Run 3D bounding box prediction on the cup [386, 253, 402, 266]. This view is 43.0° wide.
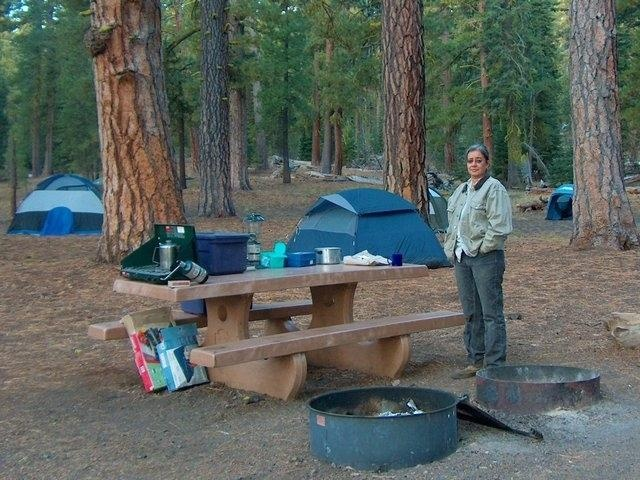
[{"bbox_3d":[0.892,0.216,9.620,0.136,0.144,0.125,-2,3,0],"label":"cup"}]

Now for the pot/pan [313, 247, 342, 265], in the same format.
[{"bbox_3d":[0.086,0.185,9.569,0.202,0.139,0.213,-2,2,29],"label":"pot/pan"}]

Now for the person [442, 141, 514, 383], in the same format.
[{"bbox_3d":[1.777,0.248,9.252,0.798,2.630,0.513,8,15,36],"label":"person"}]

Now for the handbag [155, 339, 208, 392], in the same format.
[{"bbox_3d":[-1.598,1.423,9.265,0.480,0.535,0.129,-5,-10,-26],"label":"handbag"}]

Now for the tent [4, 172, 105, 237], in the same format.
[{"bbox_3d":[-6.215,-0.598,19.641,2.135,1.084,1.884,-2,6,-21],"label":"tent"}]

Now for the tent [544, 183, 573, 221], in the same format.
[{"bbox_3d":[6.875,-1.117,23.388,0.722,1.041,1.131,2,13,14],"label":"tent"}]

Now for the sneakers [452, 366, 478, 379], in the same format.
[{"bbox_3d":[1.671,1.514,9.314,0.340,0.151,0.122,-7,-1,-6],"label":"sneakers"}]
